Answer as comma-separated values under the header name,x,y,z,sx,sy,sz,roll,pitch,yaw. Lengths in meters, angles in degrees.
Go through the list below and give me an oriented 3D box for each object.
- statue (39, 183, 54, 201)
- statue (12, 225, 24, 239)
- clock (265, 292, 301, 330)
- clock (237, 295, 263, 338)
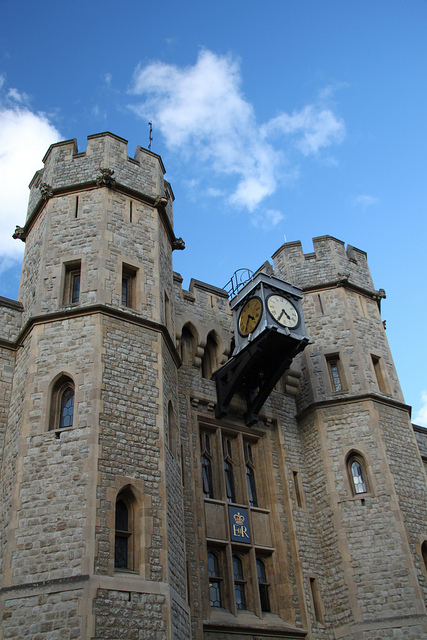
name,x,y,z,sx,sy,sz,roll,pitch,yaw
statue,-4.306,-3.315,13.940,0.331,0.462,0.246,-2,-27,-9
statue,-5.372,-2.382,14.871,0.211,0.176,0.340,12,-33,-31
clock,1.806,-0.211,14.313,0.937,0.976,0.082,12,-40,-44
clock,0.957,-0.094,14.552,1.046,0.073,1.083,-17,-56,-47
